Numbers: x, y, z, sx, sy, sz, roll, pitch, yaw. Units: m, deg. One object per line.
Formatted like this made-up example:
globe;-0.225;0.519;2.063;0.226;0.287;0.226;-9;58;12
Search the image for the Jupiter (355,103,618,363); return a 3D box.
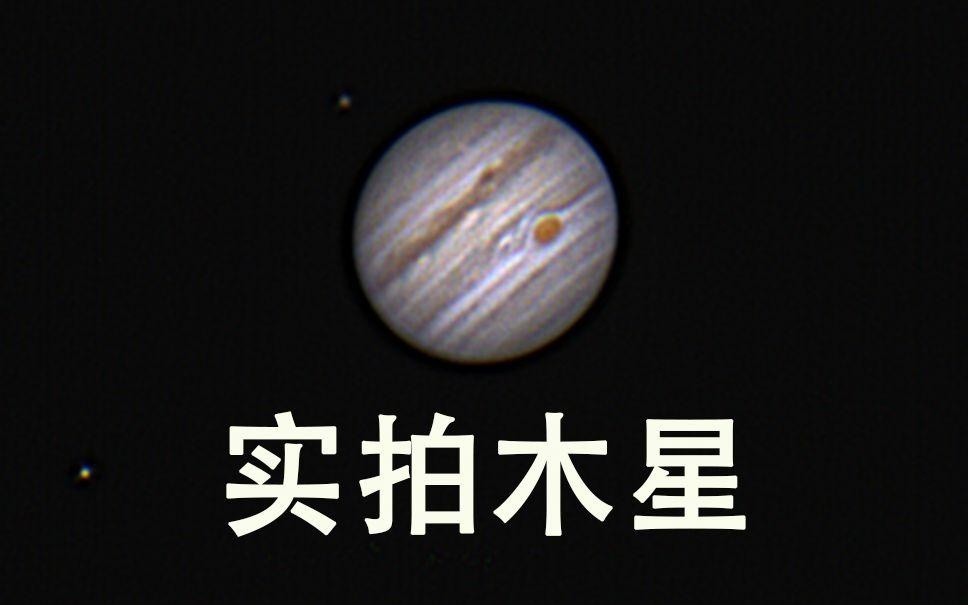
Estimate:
Jupiter;0.004;-0.192;3.199;0.728;0.115;0.694;1;82;-1
